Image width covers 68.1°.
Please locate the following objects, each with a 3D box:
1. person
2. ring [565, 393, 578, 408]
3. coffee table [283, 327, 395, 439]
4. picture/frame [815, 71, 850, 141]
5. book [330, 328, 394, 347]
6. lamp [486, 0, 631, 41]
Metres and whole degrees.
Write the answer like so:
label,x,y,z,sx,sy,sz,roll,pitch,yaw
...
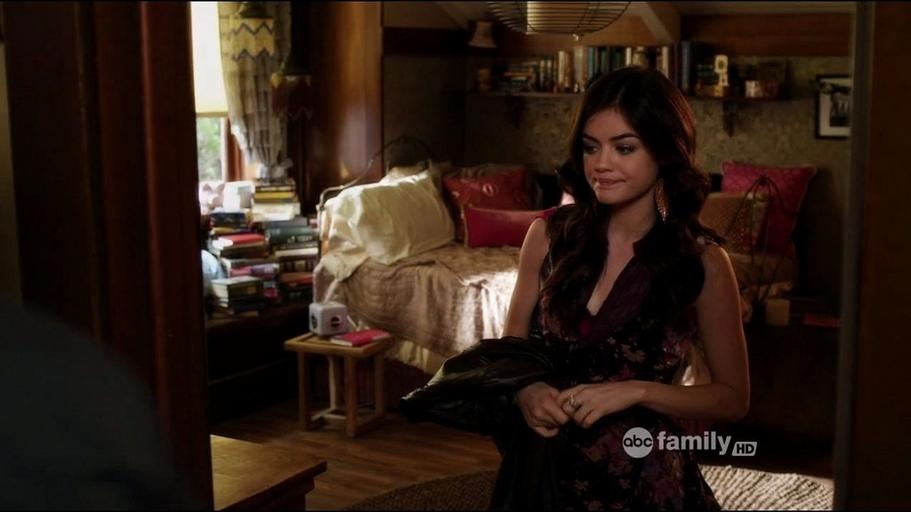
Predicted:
label,x,y,z,sx,sy,sz,roll,pitch,yaw
person,0.367,0.084,1.513,0.544,0.985,0.370,0,13,19
ring,0.255,0.314,1.469,0.010,0.027,0.021,-3,-22,-27
coffee table,-0.563,0.590,3.489,0.542,0.503,0.526,2,5,28
picture/frame,2.422,-0.945,4.322,0.198,0.402,0.270,3,14,32
book,-0.467,0.389,3.276,0.238,0.047,0.158,-12,13,-40
lamp,0.505,-1.169,3.307,0.478,0.185,0.593,-8,11,-24
